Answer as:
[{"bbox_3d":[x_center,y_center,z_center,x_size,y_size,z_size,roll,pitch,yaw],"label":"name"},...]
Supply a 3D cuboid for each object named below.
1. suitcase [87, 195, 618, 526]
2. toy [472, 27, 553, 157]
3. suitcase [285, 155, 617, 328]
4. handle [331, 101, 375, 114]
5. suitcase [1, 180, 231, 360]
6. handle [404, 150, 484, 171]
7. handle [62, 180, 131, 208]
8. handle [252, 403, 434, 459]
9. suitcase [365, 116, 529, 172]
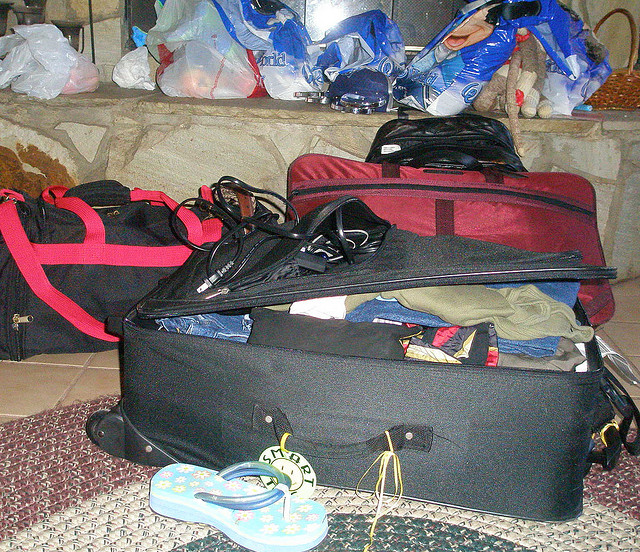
[{"bbox_3d":[0.087,0.160,1.248,1.092,0.356,0.615,3,26,4],"label":"suitcase"},{"bbox_3d":[0.617,-0.563,1.935,0.318,0.387,0.261,3,32,4],"label":"toy"},{"bbox_3d":[0.308,-0.071,1.695,0.768,0.209,0.452,8,41,-3],"label":"suitcase"},{"bbox_3d":[0.111,-0.533,1.965,0.134,0.039,0.094,-1,18,2],"label":"handle"},{"bbox_3d":[-0.510,-0.030,1.635,0.748,0.320,0.391,-4,41,-20],"label":"suitcase"},{"bbox_3d":[0.339,-0.309,1.640,0.167,0.026,0.075,0,20,7],"label":"handle"},{"bbox_3d":[-0.596,-0.219,1.648,0.140,0.034,0.085,0,18,-7],"label":"handle"},{"bbox_3d":[0.038,0.287,1.104,0.326,0.105,0.040,1,25,8],"label":"handle"},{"bbox_3d":[0.353,-0.367,1.732,0.436,0.106,0.340,-4,21,-6],"label":"suitcase"}]
